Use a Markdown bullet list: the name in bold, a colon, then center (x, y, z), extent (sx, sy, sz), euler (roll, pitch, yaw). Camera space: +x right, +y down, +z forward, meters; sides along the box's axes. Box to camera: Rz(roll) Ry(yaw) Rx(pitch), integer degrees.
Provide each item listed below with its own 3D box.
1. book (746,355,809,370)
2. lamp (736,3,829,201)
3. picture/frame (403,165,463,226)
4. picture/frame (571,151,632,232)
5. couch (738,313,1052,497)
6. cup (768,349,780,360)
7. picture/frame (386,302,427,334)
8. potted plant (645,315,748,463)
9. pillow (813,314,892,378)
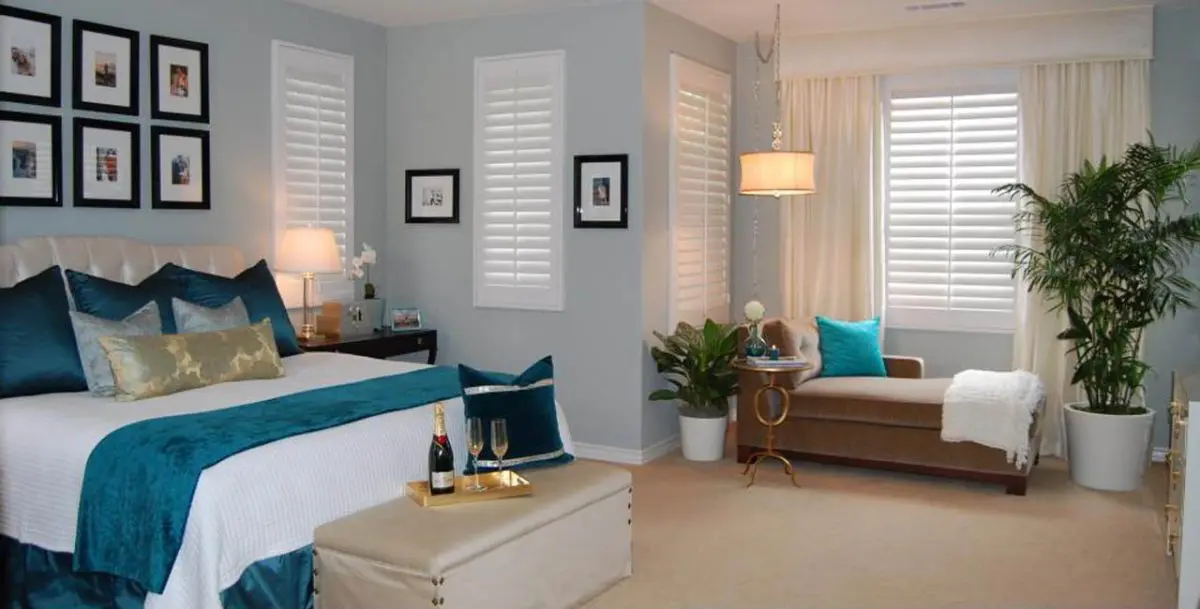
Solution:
- **book**: center (1.746, 0.570, 7.231), extent (0.589, 0.112, 0.320), euler (0, 3, 9)
- **lamp**: center (1.937, -2.103, 7.879), extent (0.812, 1.957, 1.703), euler (0, 4, 14)
- **picture/frame**: center (-1.836, -1.184, 8.160), extent (0.689, 0.579, 0.055), euler (3, 8, 20)
- **picture/frame**: center (0.052, -1.163, 7.553), extent (0.889, 1.012, 0.076), euler (1, 3, 22)
- **couch**: center (3.026, 0.937, 7.728), extent (2.810, 1.364, 1.582), euler (1, 4, 21)
- **cup**: center (1.738, 0.495, 7.318), extent (0.110, 0.098, 0.096), euler (1, 1, 17)
- **picture/frame**: center (-2.093, 0.156, 8.116), extent (0.362, 0.284, 0.123), euler (-1, -11, -28)
- **potted plant**: center (0.971, 0.911, 7.846), extent (1.041, 1.368, 1.176), euler (10, -16, -20)
- **pillow**: center (2.693, 0.453, 7.889), extent (0.718, 0.615, 0.258), euler (0, -7, 0)
